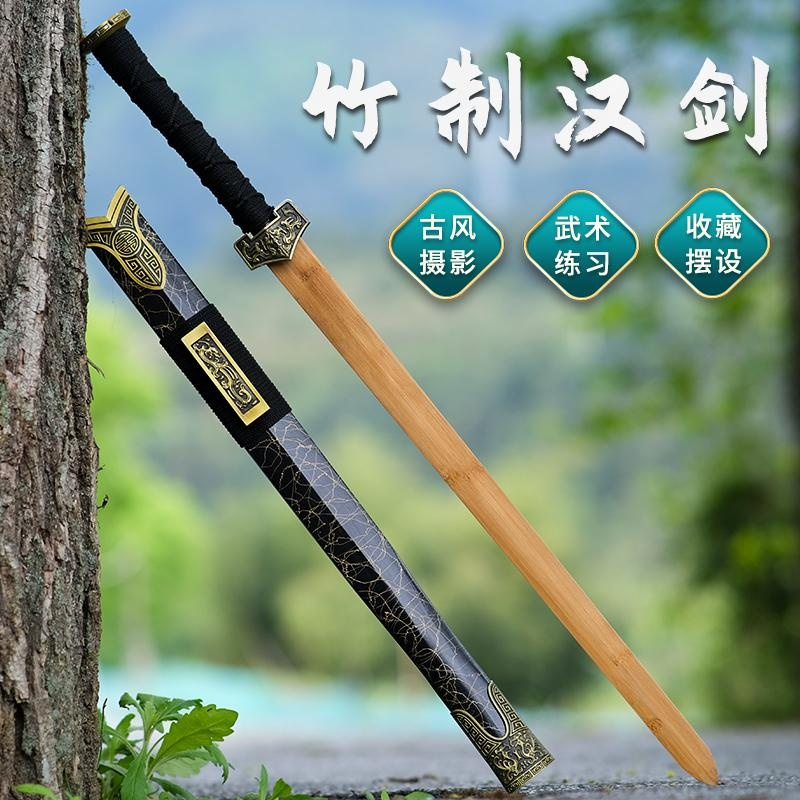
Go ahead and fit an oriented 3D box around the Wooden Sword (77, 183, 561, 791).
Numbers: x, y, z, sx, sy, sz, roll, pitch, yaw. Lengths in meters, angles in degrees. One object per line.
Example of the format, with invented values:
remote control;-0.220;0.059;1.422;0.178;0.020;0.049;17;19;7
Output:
Wooden Sword;-0.285;0.338;4.355;0.456;2.787;0.140;-43;7;36

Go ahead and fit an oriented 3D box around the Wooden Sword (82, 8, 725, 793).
Wooden Sword;0.096;0.113;4.548;0.513;3.601;0.355;-45;5;-24
